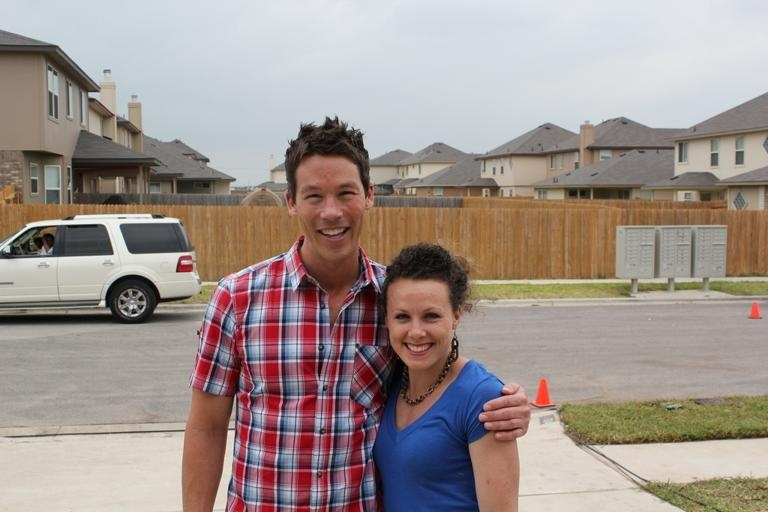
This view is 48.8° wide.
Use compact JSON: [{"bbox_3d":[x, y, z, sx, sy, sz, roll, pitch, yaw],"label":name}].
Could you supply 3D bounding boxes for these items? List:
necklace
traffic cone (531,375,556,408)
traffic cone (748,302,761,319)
[{"bbox_3d":[0.498,1.162,8.340,0.472,0.711,0.157,13,7,26],"label":"necklace"},{"bbox_3d":[2.824,2.358,14.647,0.461,0.547,0.460,-1,-1,-17],"label":"traffic cone"},{"bbox_3d":[9.899,1.464,22.509,0.337,0.330,0.327,-4,8,-9],"label":"traffic cone"}]
